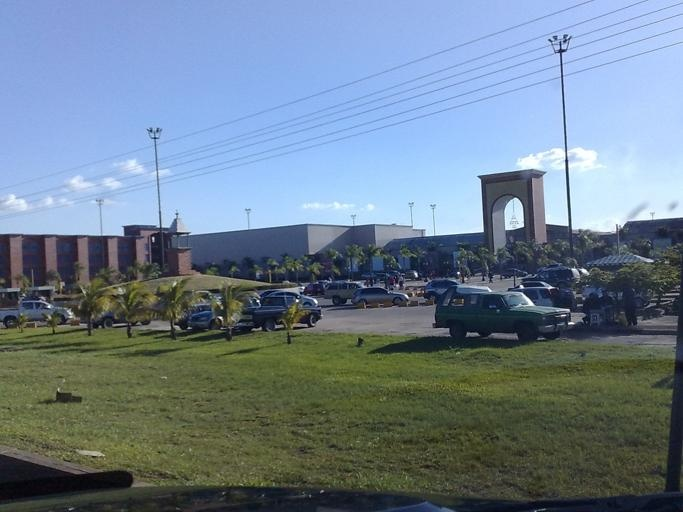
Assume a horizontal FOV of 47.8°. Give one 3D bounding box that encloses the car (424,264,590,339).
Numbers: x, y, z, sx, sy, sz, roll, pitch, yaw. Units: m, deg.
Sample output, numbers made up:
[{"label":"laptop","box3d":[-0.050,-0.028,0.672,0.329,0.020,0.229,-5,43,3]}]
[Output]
[{"label":"car","box3d":[5.398,1.703,25.952,3.687,1.545,2.025,-4,-2,38]}]
